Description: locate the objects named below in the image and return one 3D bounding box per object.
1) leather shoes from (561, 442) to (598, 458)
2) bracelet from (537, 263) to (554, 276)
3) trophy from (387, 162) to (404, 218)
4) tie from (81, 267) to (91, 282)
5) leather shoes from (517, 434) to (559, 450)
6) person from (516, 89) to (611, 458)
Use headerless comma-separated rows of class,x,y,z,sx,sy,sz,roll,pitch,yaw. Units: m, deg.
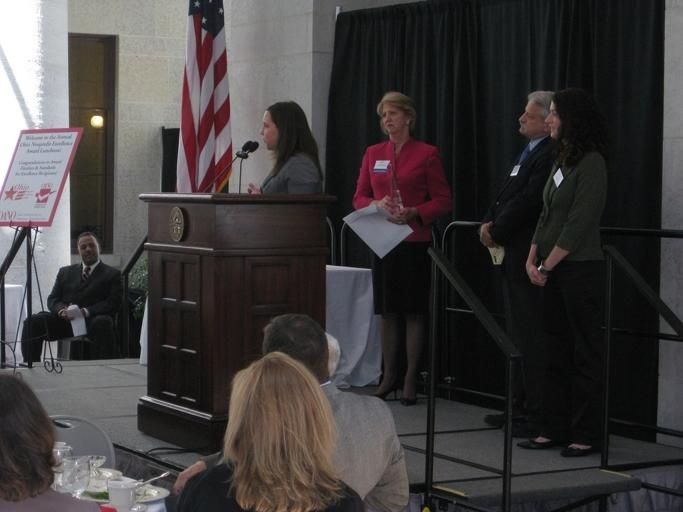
leather shoes,1.178,0.956,3.734,0.156,0.055,0.079,2,-6,-19
bracelet,0.996,0.071,3.672,0.050,0.044,0.072,18,0,35
trophy,0.331,-0.396,4.501,0.104,0.364,0.296,2,5,3
tie,-2.357,0.178,6.914,0.061,0.111,0.028,1,-18,5
leather shoes,1.008,0.944,3.848,0.162,0.050,0.086,3,-5,-3
person,1.114,0.093,3.710,0.392,1.812,0.283,3,5,23
